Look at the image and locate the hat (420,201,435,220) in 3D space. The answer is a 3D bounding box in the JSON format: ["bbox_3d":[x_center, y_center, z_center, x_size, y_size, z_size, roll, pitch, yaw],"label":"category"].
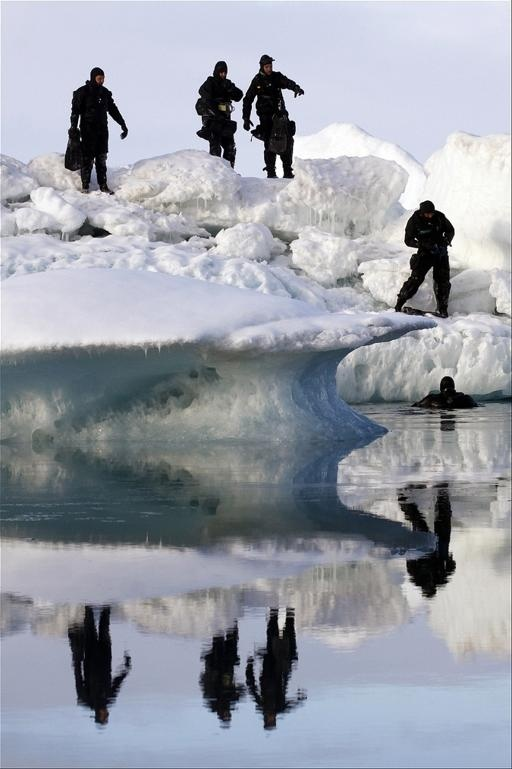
[{"bbox_3d":[1.355,-1.387,11.386,0.091,0.126,0.136,-4,-7,-3],"label":"hat"}]

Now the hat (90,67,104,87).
[{"bbox_3d":[-1.280,-2.498,11.699,0.098,0.123,0.162,-2,7,-16],"label":"hat"}]

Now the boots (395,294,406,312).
[{"bbox_3d":[1.242,-0.702,12.336,0.070,0.076,0.203,1,-27,-7],"label":"boots"}]

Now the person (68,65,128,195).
[{"bbox_3d":[-1.349,-2.149,12.391,0.478,0.969,1.709,-1,6,-5],"label":"person"}]

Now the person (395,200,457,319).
[{"bbox_3d":[1.390,-1.025,12.048,0.467,0.997,1.498,1,6,6],"label":"person"}]

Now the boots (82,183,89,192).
[{"bbox_3d":[-1.542,-1.801,13.138,0.065,0.074,0.072,-9,11,-41],"label":"boots"}]
